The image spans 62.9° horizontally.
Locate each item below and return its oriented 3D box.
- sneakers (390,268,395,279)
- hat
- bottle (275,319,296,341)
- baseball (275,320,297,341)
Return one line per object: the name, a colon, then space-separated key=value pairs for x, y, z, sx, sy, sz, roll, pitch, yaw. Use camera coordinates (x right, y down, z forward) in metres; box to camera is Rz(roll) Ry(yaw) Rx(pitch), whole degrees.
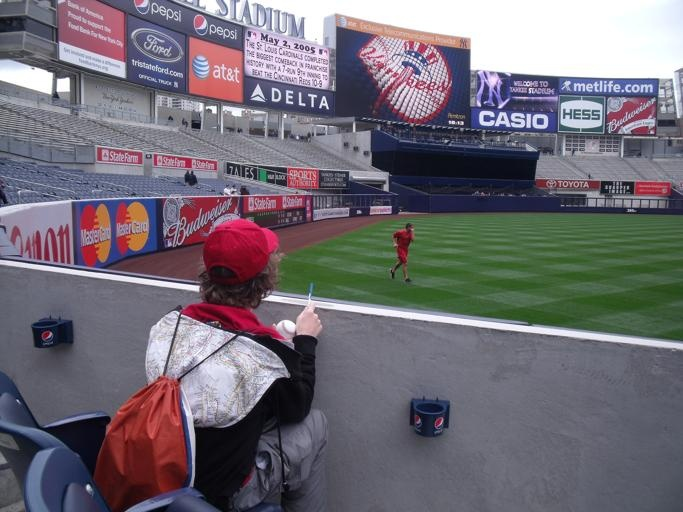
sneakers: x=1.143 y=0.385 z=12.446 sx=0.088 sy=0.223 sz=0.070 roll=-1 pitch=10 yaw=-22
hat: x=-0.447 y=-0.018 z=2.533 sx=0.206 sy=0.181 sz=0.341 roll=6 pitch=33 yaw=13
bottle: x=-0.272 y=0.341 z=2.694 sx=0.078 sy=0.072 sz=0.091 roll=30 pitch=0 yaw=-16
baseball: x=-0.263 y=0.350 z=2.687 sx=0.087 sy=0.050 sz=0.087 roll=38 pitch=19 yaw=-28
